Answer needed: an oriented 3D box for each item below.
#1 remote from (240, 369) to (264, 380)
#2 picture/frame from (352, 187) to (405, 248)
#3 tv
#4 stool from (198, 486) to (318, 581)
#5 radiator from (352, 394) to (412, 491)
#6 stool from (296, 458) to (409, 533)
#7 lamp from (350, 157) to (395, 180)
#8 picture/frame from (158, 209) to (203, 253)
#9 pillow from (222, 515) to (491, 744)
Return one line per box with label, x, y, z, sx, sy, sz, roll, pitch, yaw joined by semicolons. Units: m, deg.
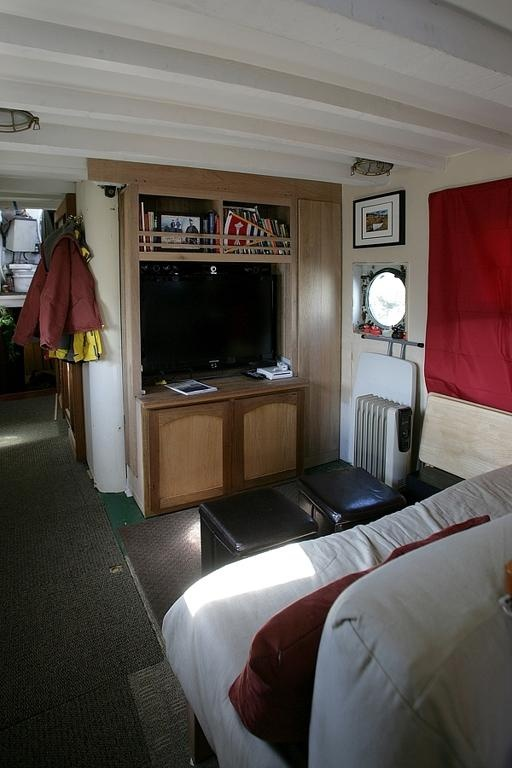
remote;-0.026;-0.072;3.778;0.070;0.026;0.141;-5;18;-19
picture/frame;0.836;-1.130;3.426;0.033;0.386;0.433;-4;10;-31
tv;-0.347;-0.444;3.535;0.746;0.577;0.105;-9;18;-29
stool;0.001;0.592;2.293;0.383;0.425;0.392;-6;10;-30
radiator;0.826;0.376;3.269;0.230;0.730;0.513;-4;8;-28
stool;0.481;0.561;2.515;0.274;0.195;0.397;-4;9;-17
lamp;0.725;-1.347;3.169;0.268;0.106;0.269;1;11;6
picture/frame;-0.483;-0.961;3.221;0.320;0.304;0.044;-3;3;-34
pillow;0.205;0.536;1.105;0.463;0.155;0.159;-25;20;-25
